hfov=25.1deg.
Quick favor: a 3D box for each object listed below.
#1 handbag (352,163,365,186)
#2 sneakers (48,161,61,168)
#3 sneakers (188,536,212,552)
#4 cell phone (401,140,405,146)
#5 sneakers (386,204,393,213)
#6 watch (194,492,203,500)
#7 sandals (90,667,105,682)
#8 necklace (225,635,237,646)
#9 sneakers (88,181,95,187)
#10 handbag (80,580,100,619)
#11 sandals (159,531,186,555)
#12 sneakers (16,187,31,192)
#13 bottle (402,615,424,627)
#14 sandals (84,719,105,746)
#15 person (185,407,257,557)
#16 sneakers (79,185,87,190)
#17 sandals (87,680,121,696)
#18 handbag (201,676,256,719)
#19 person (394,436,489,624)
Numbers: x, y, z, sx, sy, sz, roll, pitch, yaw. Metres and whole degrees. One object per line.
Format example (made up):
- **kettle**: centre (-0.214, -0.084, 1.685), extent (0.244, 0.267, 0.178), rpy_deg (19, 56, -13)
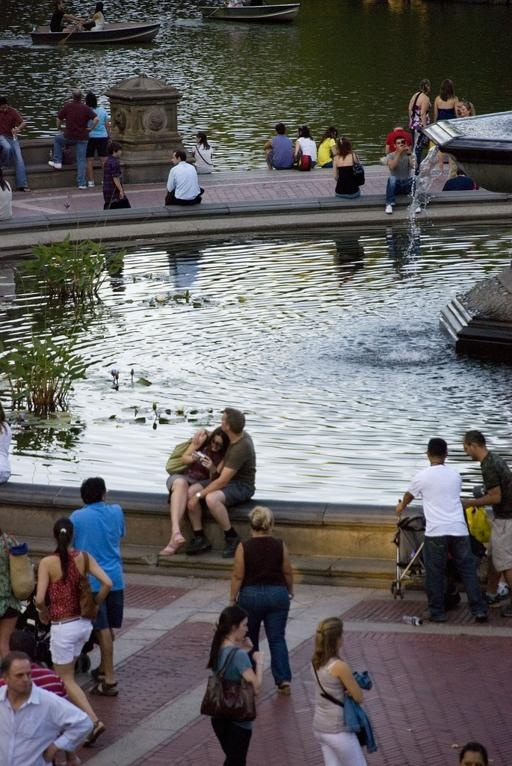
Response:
- **handbag**: centre (1.816, -3.731, 20.489), extent (0.167, 0.420, 0.523), rpy_deg (-1, 14, 5)
- **sneakers**: centre (-4.196, -4.512, 23.583), extent (0.119, 0.142, 0.329), rpy_deg (-15, 26, -31)
- **sneakers**: centre (-0.413, 1.134, 8.080), extent (0.170, 0.109, 0.077), rpy_deg (-4, 5, -20)
- **cell phone**: centre (2.520, -4.142, 19.731), extent (0.033, 0.086, 0.080), rpy_deg (-18, -6, 32)
- **sneakers**: centre (2.357, -3.091, 20.315), extent (0.132, 0.155, 0.312), rpy_deg (-1, 14, 7)
- **watch**: centre (-0.404, 0.770, 7.866), extent (0.042, 0.014, 0.060), rpy_deg (-13, 37, -5)
- **sandals**: centre (-0.871, 1.581, 6.211), extent (0.052, 0.043, 0.140), rpy_deg (-6, 19, -20)
- **necklace**: centre (-0.111, 1.097, 4.906), extent (0.040, 0.040, 0.039), rpy_deg (0, 13, 4)
- **sneakers**: centre (-3.418, -4.077, 23.476), extent (0.072, 0.119, 0.174), rpy_deg (0, 17, -5)
- **handbag**: centre (-0.836, 1.065, 5.619), extent (0.071, 0.200, 0.071), rpy_deg (1, 15, 15)
- **sandals**: centre (-0.597, 1.111, 8.038), extent (0.186, 0.181, 0.212), rpy_deg (-4, 14, -5)
- **sneakers**: centre (-4.715, -3.894, 23.013), extent (0.093, 0.101, 0.272), rpy_deg (-11, 13, -42)
- **bottle**: centre (0.934, 1.415, 6.839), extent (0.090, 0.036, 0.049), rpy_deg (15, 4, 15)
- **sandals**: centre (-0.781, 1.677, 5.473), extent (0.046, 0.091, 0.133), rpy_deg (3, 15, 22)
- **person**: centre (-0.266, 0.667, 7.864), extent (0.496, 1.093, 0.399), rpy_deg (-2, 14, 0)
- **sneakers**: centre (-3.559, -3.986, 23.280), extent (0.163, 0.075, 0.174), rpy_deg (-5, 14, -11)
- **sandals**: centre (-0.824, 1.602, 6.082), extent (0.148, 0.063, 0.072), rpy_deg (10, 12, 24)
- **handbag**: centre (-0.112, 1.316, 4.800), extent (0.221, 0.257, 0.103), rpy_deg (4, 10, 5)
- **person**: centre (1.142, 0.888, 6.911), extent (0.474, 1.049, 0.391), rpy_deg (-2, 14, 3)
